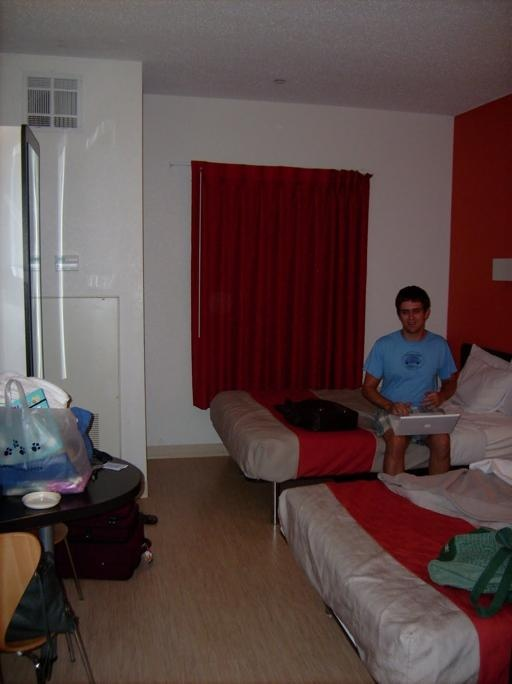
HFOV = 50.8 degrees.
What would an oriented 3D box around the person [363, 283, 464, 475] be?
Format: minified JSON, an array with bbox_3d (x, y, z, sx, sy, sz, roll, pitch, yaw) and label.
[{"bbox_3d":[0.840,0.202,3.023,0.475,1.029,0.688,4,5,43],"label":"person"}]

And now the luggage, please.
[{"bbox_3d":[-0.691,0.907,2.492,0.444,0.288,0.547,0,6,0],"label":"luggage"}]

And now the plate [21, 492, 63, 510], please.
[{"bbox_3d":[-0.636,0.463,1.585,0.107,0.027,0.085,0,4,-8],"label":"plate"}]

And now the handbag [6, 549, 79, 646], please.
[{"bbox_3d":[-0.573,0.620,1.472,0.166,0.313,0.290,1,2,-19],"label":"handbag"}]
